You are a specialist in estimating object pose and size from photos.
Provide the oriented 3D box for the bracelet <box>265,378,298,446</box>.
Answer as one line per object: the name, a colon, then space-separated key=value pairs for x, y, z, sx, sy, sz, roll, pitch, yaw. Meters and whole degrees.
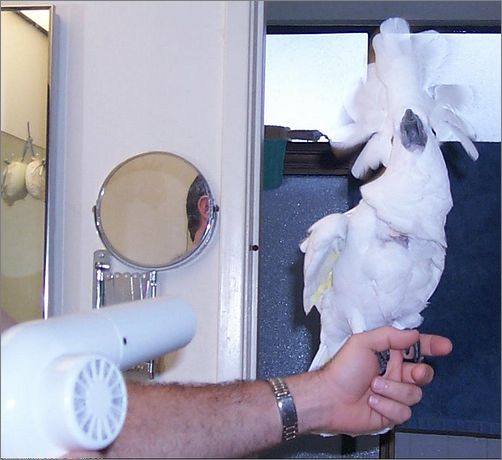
bracelet: x=0.063 y=0.330 z=1.587 sx=0.041 sy=0.117 sz=0.050 roll=-15 pitch=-5 yaw=0

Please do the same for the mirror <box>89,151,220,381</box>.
mirror: x=-0.230 y=0.087 z=1.958 sx=0.280 sy=0.580 sz=0.041 roll=-1 pitch=28 yaw=-9

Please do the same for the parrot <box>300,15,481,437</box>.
parrot: x=0.276 y=-0.047 z=1.913 sx=0.261 sy=0.745 sz=0.451 roll=7 pitch=-14 yaw=-26
